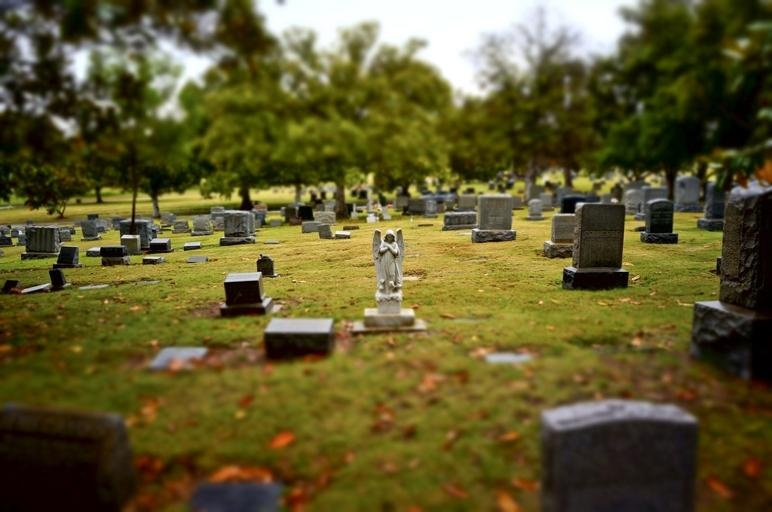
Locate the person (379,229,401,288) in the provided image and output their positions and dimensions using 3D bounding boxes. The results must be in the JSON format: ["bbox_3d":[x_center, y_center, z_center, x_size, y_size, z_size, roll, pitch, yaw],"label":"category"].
[{"bbox_3d":[0.072,0.068,9.480,0.409,1.010,0.252,-2,7,-13],"label":"person"}]
